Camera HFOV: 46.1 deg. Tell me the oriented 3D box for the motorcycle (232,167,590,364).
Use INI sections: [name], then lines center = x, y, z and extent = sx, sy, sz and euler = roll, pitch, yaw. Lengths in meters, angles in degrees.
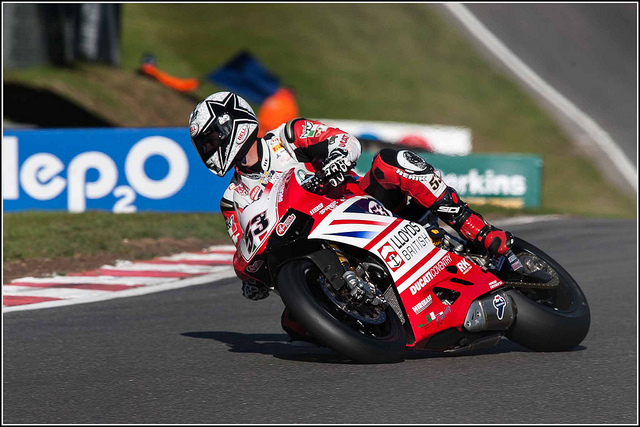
[motorcycle]
center = 0.874, 0.589, 6.790
extent = 3.794, 1.167, 1.912
euler = 8, 36, -45
